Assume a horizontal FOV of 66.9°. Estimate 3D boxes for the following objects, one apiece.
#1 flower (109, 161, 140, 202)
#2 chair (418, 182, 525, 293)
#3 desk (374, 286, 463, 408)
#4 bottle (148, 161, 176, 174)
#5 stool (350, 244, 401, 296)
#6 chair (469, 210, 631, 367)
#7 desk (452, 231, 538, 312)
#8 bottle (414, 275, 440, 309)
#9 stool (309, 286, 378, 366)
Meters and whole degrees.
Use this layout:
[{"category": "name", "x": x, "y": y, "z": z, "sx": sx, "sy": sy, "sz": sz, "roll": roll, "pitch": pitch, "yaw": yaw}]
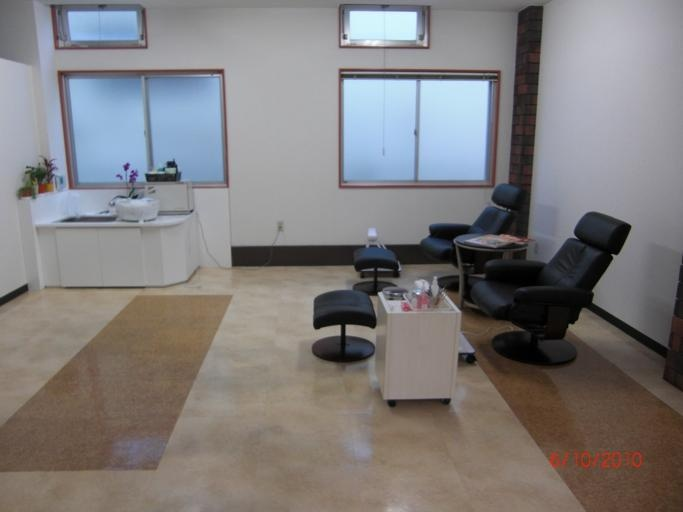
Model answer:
[{"category": "flower", "x": -2.967, "y": -1.004, "z": 7.095, "sx": 0.360, "sy": 0.494, "sz": 0.757, "roll": -8, "pitch": 19, "yaw": -21}, {"category": "chair", "x": 1.570, "y": -0.273, "z": 6.764, "sx": 1.402, "sy": 1.590, "sz": 1.196, "roll": -2, "pitch": 13, "yaw": -11}, {"category": "desk", "x": 0.608, "y": 0.790, "z": 4.275, "sx": 0.625, "sy": 0.760, "sz": 0.639, "roll": 0, "pitch": 7, "yaw": -30}, {"category": "bottle", "x": -2.421, "y": -1.187, "z": 7.066, "sx": 0.280, "sy": 0.113, "sz": 0.222, "roll": 0, "pitch": 14, "yaw": 1}, {"category": "stool", "x": 0.420, "y": 0.211, "z": 6.249, "sx": 0.581, "sy": 0.437, "sz": 0.629, "roll": 2, "pitch": 0, "yaw": 30}, {"category": "chair", "x": 2.064, "y": 0.207, "z": 5.302, "sx": 1.546, "sy": 1.705, "sz": 1.213, "roll": -2, "pitch": 11, "yaw": -5}, {"category": "desk", "x": 1.467, "y": 0.248, "z": 5.834, "sx": 0.709, "sy": 0.749, "sz": 0.721, "roll": 2, "pitch": -1, "yaw": -6}, {"category": "bottle", "x": 0.704, "y": 0.302, "z": 4.238, "sx": 0.206, "sy": 0.306, "sz": 0.233, "roll": -2, "pitch": 13, "yaw": -11}, {"category": "stool", "x": 0.025, "y": 0.630, "z": 4.826, "sx": 0.584, "sy": 0.543, "sz": 0.633, "roll": -2, "pitch": 10, "yaw": -3}]
